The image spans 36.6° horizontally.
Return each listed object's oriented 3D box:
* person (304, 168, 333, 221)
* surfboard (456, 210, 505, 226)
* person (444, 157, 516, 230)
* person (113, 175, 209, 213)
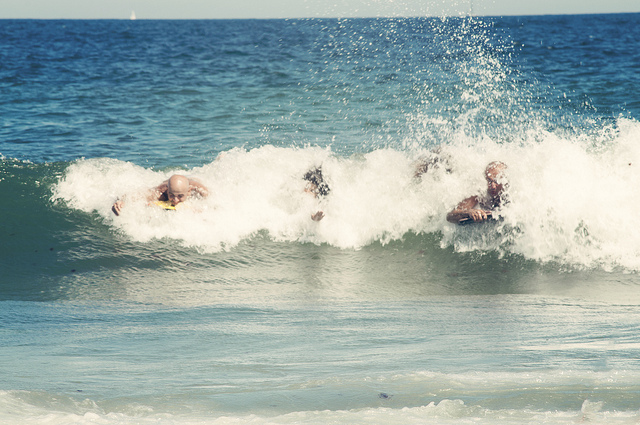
[{"bbox_3d":[-0.104,-0.497,22.381,0.753,0.991,0.389,8,-20,-8],"label":"person"},{"bbox_3d":[3.568,0.109,21.631,1.175,0.242,0.196,-6,16,-7],"label":"surfboard"},{"bbox_3d":[3.748,-0.346,21.831,1.350,1.584,0.525,33,-14,-18],"label":"person"},{"bbox_3d":[-3.607,-0.450,22.060,2.041,0.830,0.745,0,11,-3],"label":"person"}]
